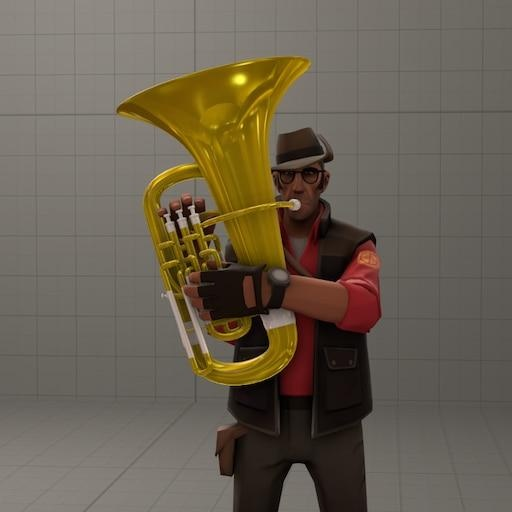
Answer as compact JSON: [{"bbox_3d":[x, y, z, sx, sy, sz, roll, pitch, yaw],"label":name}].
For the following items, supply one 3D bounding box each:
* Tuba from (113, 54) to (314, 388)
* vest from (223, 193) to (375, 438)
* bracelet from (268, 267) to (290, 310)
[{"bbox_3d":[-0.099,-0.058,1.353,0.467,0.837,0.217,-2,6,-7],"label":"Tuba"},{"bbox_3d":[0.123,0.179,1.568,0.470,0.579,0.373,-3,8,8],"label":"vest"},{"bbox_3d":[0.053,0.079,1.312,0.069,0.083,0.097,6,-6,3],"label":"bracelet"}]
